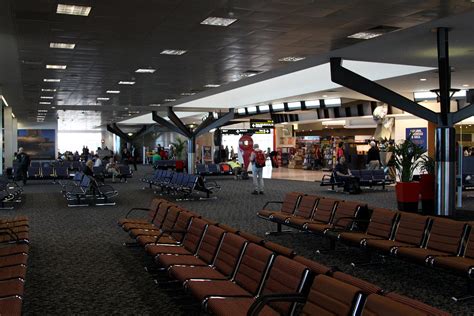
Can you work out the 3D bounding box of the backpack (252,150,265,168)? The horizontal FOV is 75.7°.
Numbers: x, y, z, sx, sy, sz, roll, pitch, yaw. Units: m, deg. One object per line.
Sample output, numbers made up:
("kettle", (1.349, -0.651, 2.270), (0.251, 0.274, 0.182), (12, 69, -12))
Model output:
("backpack", (0.910, 0.025, 12.743), (0.491, 0.750, 0.453), (-1, 1, 1))
